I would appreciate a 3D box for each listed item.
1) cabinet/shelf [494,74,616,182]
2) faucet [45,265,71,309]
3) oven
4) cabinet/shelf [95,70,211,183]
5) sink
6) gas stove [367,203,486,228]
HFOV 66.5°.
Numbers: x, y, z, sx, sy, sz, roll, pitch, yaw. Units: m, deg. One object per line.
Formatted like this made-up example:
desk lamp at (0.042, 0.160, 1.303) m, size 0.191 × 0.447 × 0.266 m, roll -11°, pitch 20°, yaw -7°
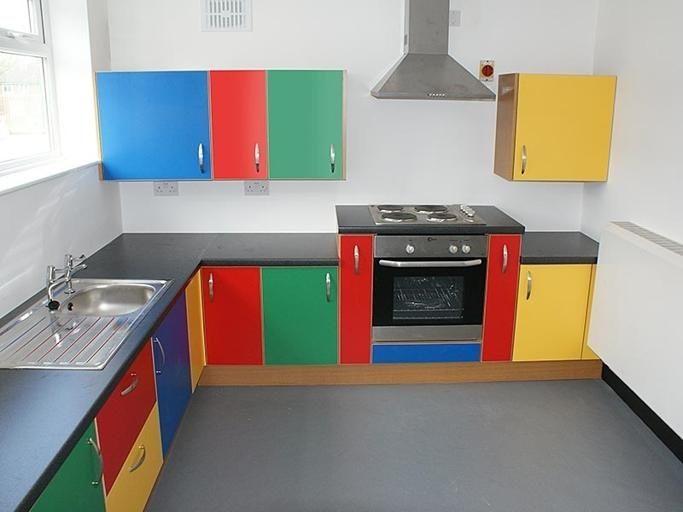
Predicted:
cabinet/shelf at (1.569, -0.946, 3.887) m, size 0.712 × 0.770 × 0.516 m, roll -1°, pitch 18°, yaw 0°
faucet at (-1.466, 0.146, 2.793) m, size 0.106 × 0.202 × 0.310 m, roll 1°, pitch 8°, yaw -10°
oven at (0.526, 0.126, 3.912) m, size 0.861 × 1.009 × 0.674 m, roll -1°, pitch 14°, yaw 1°
cabinet/shelf at (-1.293, -0.914, 3.558) m, size 0.660 × 0.672 × 0.271 m, roll -1°, pitch 12°, yaw -3°
sink at (-1.241, 0.303, 2.819) m, size 0.399 × 0.190 × 0.565 m, roll 4°, pitch 15°, yaw -11°
gas stove at (0.617, -0.307, 3.788) m, size 0.813 × 0.051 × 0.571 m, roll 0°, pitch 17°, yaw -2°
